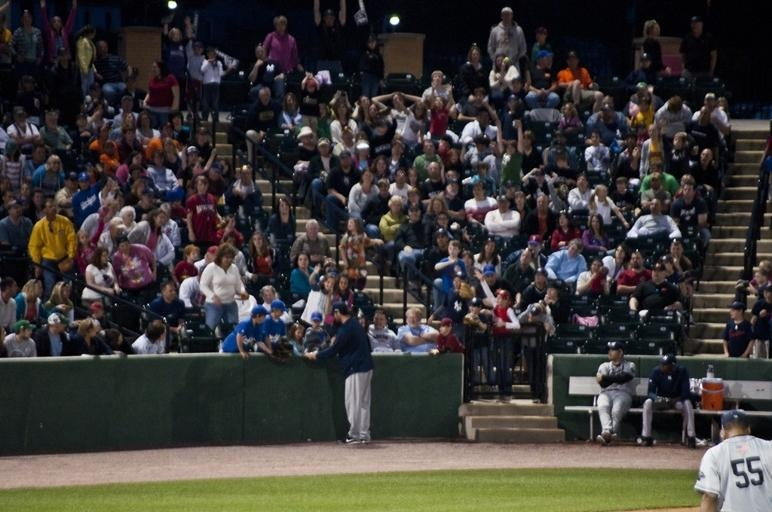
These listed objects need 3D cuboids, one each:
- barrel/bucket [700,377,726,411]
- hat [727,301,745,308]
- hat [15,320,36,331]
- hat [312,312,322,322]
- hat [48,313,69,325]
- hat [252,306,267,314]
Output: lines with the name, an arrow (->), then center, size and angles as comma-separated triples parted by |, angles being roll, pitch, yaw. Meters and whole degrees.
barrel/bucket -> 7.142, 3.039, 43.935 | 0.567, 0.695, 0.594 | 0, 1, 0
hat -> 7.848, 1.106, 44.551 | 0.225, 0.107, 0.173 | 3, 2, -13
hat -> -7.527, 1.457, 41.979 | 0.293, 0.180, 0.203 | 0, 7, -3
hat -> -1.448, 1.343, 43.694 | 0.267, 0.188, 0.309 | -2, 0, -13
hat -> -6.873, 1.337, 42.264 | 0.359, 0.205, 0.326 | -2, 0, -16
hat -> -2.623, 1.158, 42.782 | 0.236, 0.147, 0.422 | -1, 0, 32
